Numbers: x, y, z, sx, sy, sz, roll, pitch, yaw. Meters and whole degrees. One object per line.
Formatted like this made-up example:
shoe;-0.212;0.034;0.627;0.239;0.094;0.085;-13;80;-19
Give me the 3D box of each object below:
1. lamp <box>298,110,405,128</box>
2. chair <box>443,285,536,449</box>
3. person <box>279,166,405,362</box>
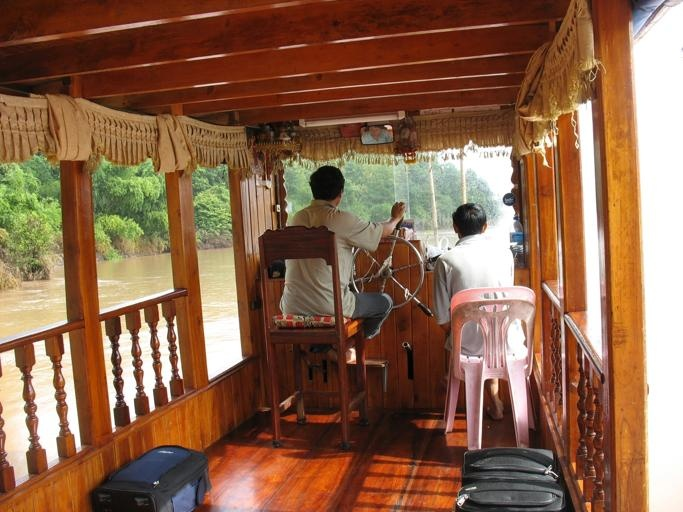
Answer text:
lamp;0.099;-1.317;5.877;1.027;0.117;0.336;-5;4;12
chair;1.102;0.827;4.565;0.662;1.269;0.684;-4;4;9
person;0.036;0.093;5.338;0.976;1.767;0.951;3;7;4
